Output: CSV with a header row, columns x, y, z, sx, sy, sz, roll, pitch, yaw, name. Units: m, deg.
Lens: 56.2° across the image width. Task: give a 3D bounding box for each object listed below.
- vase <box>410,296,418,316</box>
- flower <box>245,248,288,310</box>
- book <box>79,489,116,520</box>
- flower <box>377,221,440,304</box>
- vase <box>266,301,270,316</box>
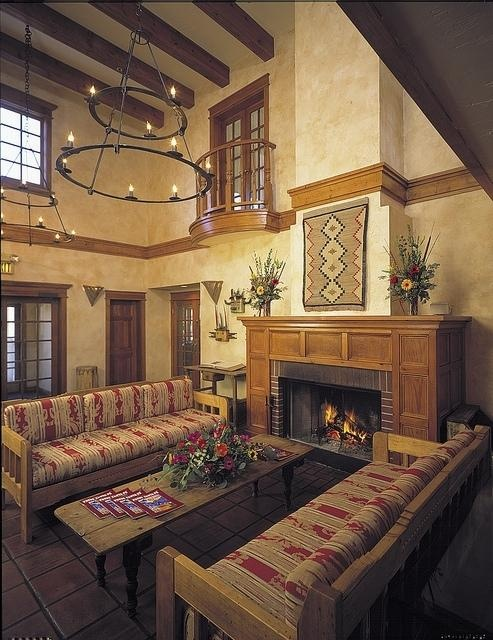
x,y,z,sx,sy,sz,roll,pitch,yaw,name
1.335,-0.109,3.689,0.040,0.130,0.087,-1,5,-19,vase
0.242,-0.436,5.308,0.437,0.769,0.881,0,4,0,flower
-0.806,1.022,2.536,0.166,0.023,0.155,17,18,40,book
1.410,-0.456,3.977,0.440,0.780,0.844,2,5,22,flower
0.236,-0.115,4.963,0.040,0.142,0.097,0,4,-6,vase
